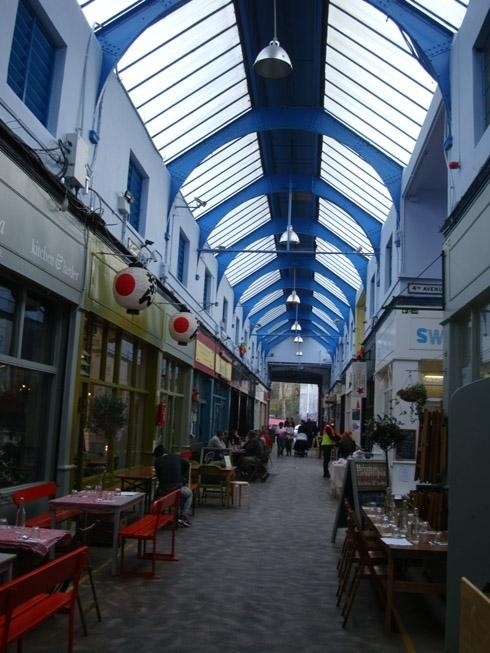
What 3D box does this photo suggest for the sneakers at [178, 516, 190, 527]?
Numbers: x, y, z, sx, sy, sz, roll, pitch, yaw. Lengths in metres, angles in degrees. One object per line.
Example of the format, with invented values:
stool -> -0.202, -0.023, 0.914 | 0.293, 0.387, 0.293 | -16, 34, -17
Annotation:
sneakers -> -0.982, 3.131, 8.178 | 0.219, 0.106, 0.087 | 16, -1, -4

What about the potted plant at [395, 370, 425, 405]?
potted plant -> 3.427, 1.229, 10.490 | 0.599, 0.982, 0.667 | 2, -8, -2

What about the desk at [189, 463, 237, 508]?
desk -> -0.711, 3.383, 11.017 | 0.930, 0.873, 3.048 | 3, -12, -3

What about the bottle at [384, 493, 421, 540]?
bottle -> 1.483, 1.792, 4.840 | 0.261, 0.364, 0.942 | 0, -15, 7

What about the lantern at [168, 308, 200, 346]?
lantern -> -1.381, 0.033, 10.844 | 0.588, 0.796, 0.613 | 6, -6, -20

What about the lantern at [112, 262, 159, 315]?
lantern -> -1.586, -0.544, 7.582 | 0.591, 0.823, 0.638 | 3, -9, -1

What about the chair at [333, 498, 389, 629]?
chair -> 1.144, 2.325, 4.967 | 0.373, 0.870, 1.336 | 0, -10, 5

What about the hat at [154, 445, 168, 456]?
hat -> -1.312, 1.930, 7.961 | 0.170, 0.235, 0.229 | 4, -32, -13
